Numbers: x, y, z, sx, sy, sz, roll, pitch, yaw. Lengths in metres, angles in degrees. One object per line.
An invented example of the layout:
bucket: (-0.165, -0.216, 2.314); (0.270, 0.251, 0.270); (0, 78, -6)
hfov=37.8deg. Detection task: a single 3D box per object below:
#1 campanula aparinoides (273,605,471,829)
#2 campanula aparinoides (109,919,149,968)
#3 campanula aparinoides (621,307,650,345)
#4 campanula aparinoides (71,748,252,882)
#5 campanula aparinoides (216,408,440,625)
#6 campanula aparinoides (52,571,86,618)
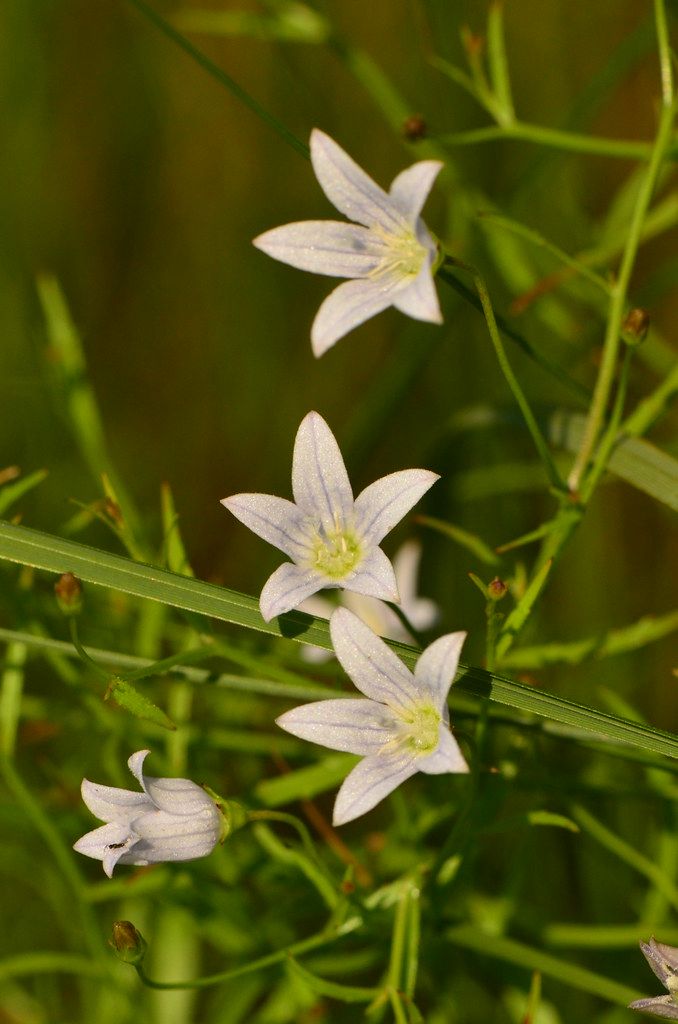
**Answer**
campanula aparinoides: (0.069, 0.214, 1.198); (0.258, 0.267, 0.132); (-9, -7, 38)
campanula aparinoides: (-0.275, 0.567, 1.297); (0.042, 0.064, 0.086); (-8, -15, -15)
campanula aparinoides: (0.388, -0.246, 1.286); (0.037, 0.045, 0.022); (13, 30, 9)
campanula aparinoides: (-0.259, 0.392, 1.295); (0.195, 0.138, 0.186); (-19, -16, 26)
campanula aparinoides: (0.018, 0.016, 1.358); (0.267, 0.296, 0.111); (-41, -13, 6)
campanula aparinoides: (-0.350, 0.106, 1.290); (0.031, 0.067, 0.071); (-8, -15, -16)
